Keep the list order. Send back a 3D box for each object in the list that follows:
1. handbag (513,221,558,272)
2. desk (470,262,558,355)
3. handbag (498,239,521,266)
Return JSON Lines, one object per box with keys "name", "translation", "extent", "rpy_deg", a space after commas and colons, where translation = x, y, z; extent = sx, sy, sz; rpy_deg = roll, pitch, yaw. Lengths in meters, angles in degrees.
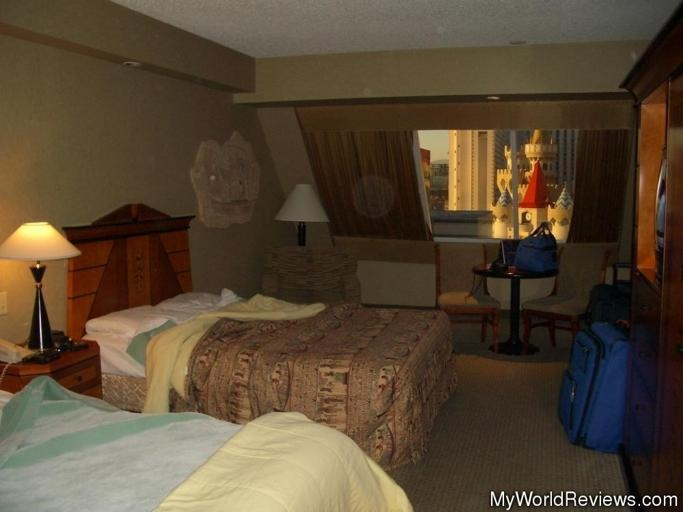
{"name": "handbag", "translation": [1.999, -0.109, 5.585], "extent": [0.312, 0.555, 0.440], "rpy_deg": [1, 2, -28]}
{"name": "desk", "translation": [1.745, 0.543, 5.802], "extent": [0.910, 1.002, 0.881], "rpy_deg": [0, 7, -4]}
{"name": "handbag", "translation": [1.754, -0.028, 5.631], "extent": [0.237, 0.261, 0.137], "rpy_deg": [5, 5, 5]}
